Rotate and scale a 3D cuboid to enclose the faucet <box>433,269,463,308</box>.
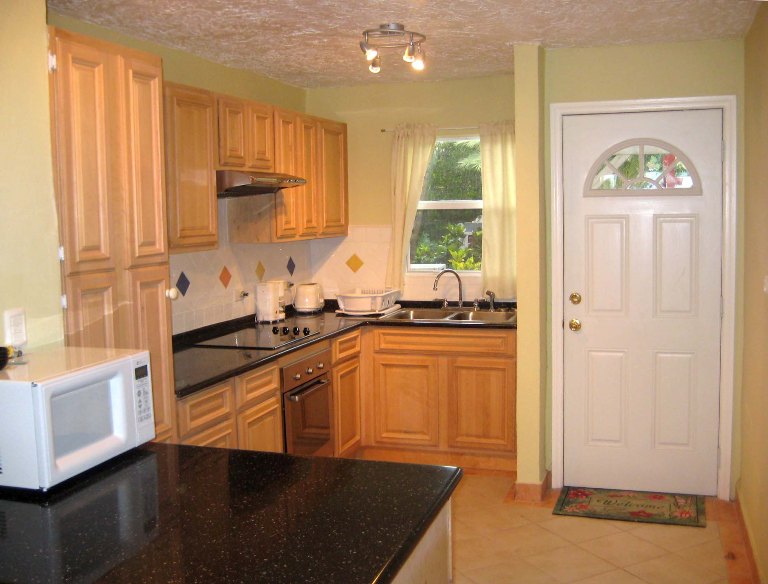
[{"bbox_3d":[0.523,-0.028,4.903,0.224,0.318,0.423,2,9,8],"label":"faucet"}]

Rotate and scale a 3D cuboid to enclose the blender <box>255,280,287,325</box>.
[{"bbox_3d":[-0.832,0.053,4.653,0.184,0.290,0.341,1,9,7],"label":"blender"}]

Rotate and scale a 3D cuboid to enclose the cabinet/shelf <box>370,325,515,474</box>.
[{"bbox_3d":[0.430,0.828,4.738,1.089,0.947,0.547,3,-19,-2],"label":"cabinet/shelf"}]

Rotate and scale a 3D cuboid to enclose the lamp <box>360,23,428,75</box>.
[{"bbox_3d":[0.062,-1.377,3.643,0.392,0.202,0.394,0,0,1],"label":"lamp"}]

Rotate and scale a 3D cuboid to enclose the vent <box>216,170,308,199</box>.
[{"bbox_3d":[-0.813,-0.681,3.902,0.459,0.166,0.632,2,9,11],"label":"vent"}]

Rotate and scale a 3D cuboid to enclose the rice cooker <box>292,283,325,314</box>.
[{"bbox_3d":[-0.602,0.052,4.950,0.226,0.217,0.228,0,0,4],"label":"rice cooker"}]
